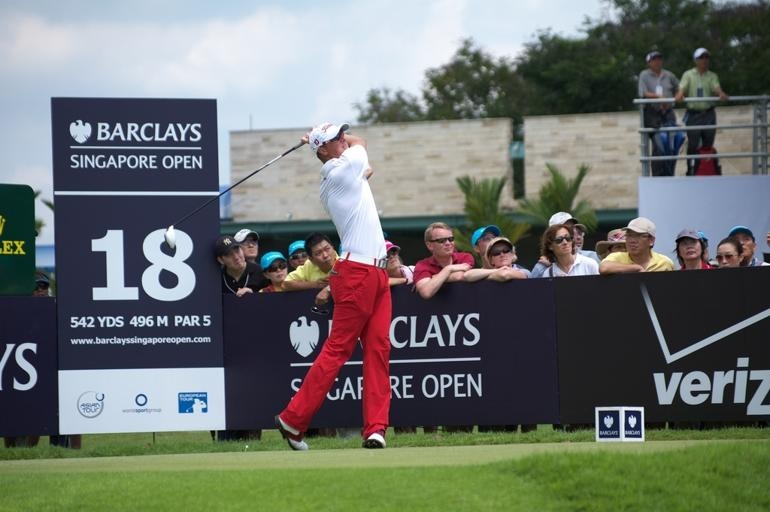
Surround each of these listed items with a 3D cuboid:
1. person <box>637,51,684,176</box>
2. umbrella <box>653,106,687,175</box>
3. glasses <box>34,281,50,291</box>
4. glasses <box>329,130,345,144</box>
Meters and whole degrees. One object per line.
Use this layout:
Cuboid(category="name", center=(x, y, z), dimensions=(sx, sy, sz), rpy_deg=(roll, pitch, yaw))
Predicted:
Cuboid(category="person", center=(4.065, -2.085, 26.295), dimensions=(0.641, 1.766, 0.584), rpy_deg=(0, -1, 2))
Cuboid(category="umbrella", center=(4.137, -1.645, 25.935), dimensions=(0.387, 1.005, 0.296), rpy_deg=(-1, -4, -18))
Cuboid(category="glasses", center=(-4.461, 0.421, 23.102), dimensions=(0.124, 0.130, 0.108), rpy_deg=(33, 18, 34))
Cuboid(category="glasses", center=(-0.538, -1.369, 20.655), dimensions=(0.067, 0.155, 0.117), rpy_deg=(40, -15, -22))
